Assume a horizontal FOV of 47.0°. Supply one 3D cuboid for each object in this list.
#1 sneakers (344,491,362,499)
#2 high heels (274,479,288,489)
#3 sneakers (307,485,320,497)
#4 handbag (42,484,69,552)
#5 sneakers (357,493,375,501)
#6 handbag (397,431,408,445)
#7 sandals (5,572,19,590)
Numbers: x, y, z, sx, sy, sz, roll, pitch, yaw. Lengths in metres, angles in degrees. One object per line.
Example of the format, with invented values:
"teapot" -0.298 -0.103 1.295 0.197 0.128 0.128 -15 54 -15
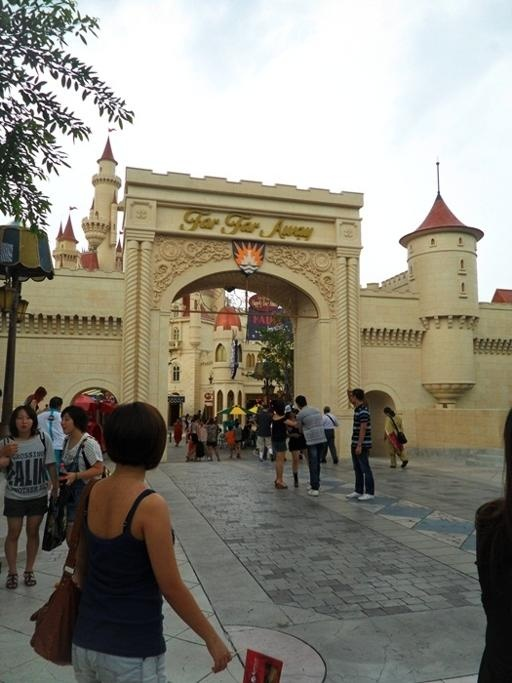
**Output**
"sneakers" 1.666 2.603 9.988 0.300 0.128 0.103 6 -6 -21
"high heels" 0.521 2.768 11.408 0.138 0.112 0.284 -3 -10 44
"sneakers" 1.025 2.658 10.485 0.157 0.180 0.423 2 -13 -9
"handbag" -1.639 1.441 4.805 0.162 0.504 0.392 2 -7 -17
"sneakers" 1.837 2.590 9.846 0.114 0.086 0.215 -8 -13 43
"handbag" 3.842 2.552 15.512 0.204 0.367 0.708 -3 -7 17
"sandals" -2.112 2.065 5.090 0.092 0.110 0.156 2 -7 -22
